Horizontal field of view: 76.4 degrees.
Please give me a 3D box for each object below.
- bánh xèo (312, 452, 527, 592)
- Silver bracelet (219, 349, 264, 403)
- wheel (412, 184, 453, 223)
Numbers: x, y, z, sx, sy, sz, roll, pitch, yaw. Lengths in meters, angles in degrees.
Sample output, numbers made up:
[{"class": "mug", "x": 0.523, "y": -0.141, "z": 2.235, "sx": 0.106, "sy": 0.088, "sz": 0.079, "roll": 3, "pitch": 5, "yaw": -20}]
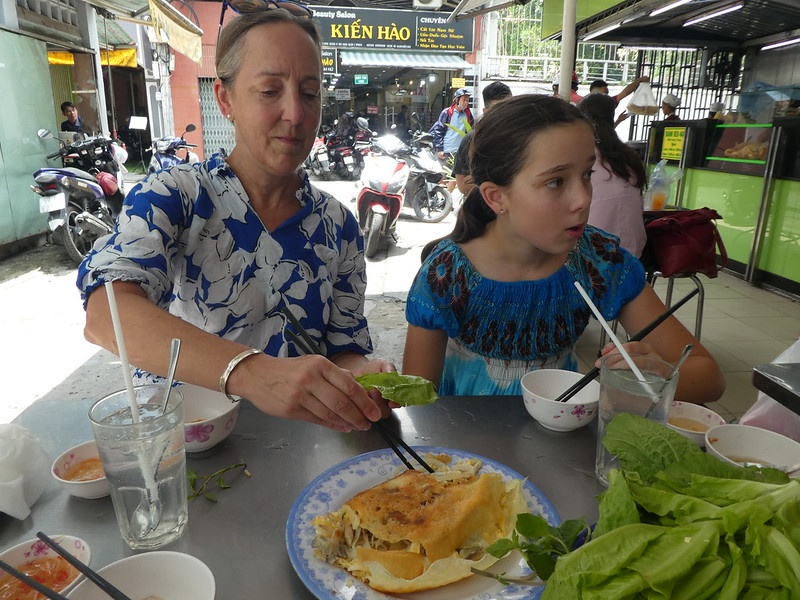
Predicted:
[{"class": "bánh xèo", "x": 0.041, "y": 0.518, "z": 1.173, "sx": 0.313, "sy": 0.115, "sz": 0.265, "roll": -11, "pitch": 15, "yaw": -39}, {"class": "Silver bracelet", "x": -0.446, "y": 0.221, "z": 1.430, "sx": 0.120, "sy": 0.182, "sz": 0.088, "roll": -9, "pitch": 23, "yaw": -21}, {"class": "wheel", "x": 0.527, "y": -1.631, "z": 8.518, "sx": 0.647, "sy": 0.703, "sz": 0.233, "roll": -2, "pitch": 12, "yaw": -5}]
